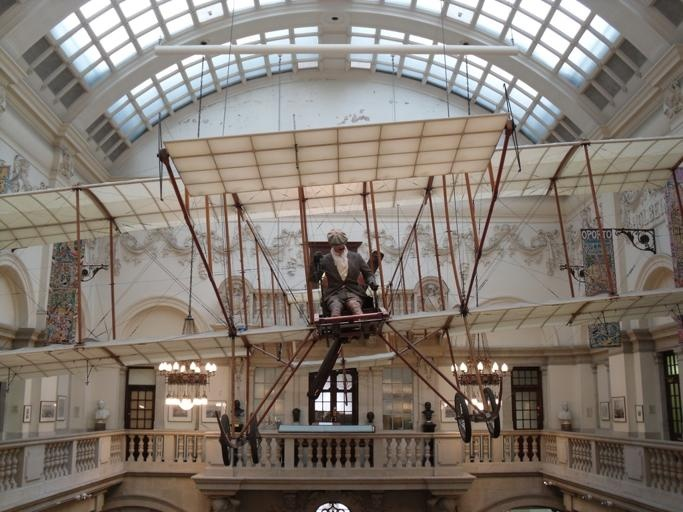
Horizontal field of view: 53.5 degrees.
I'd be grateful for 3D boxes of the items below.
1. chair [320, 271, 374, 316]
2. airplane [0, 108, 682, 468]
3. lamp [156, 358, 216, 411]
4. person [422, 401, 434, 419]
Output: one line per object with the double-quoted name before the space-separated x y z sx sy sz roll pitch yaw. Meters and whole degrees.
"chair" 0.095 1.114 15.729 1.052 1.184 1.044 -2 -51 -1
"airplane" -0.528 -1.614 18.532 17.046 5.241 7.090 -3 -53 0
"lamp" -4.818 4.019 21.537 1.631 1.539 1.798 10 3 -18
"person" 2.984 5.333 23.519 0.470 0.878 0.505 0 -10 1
